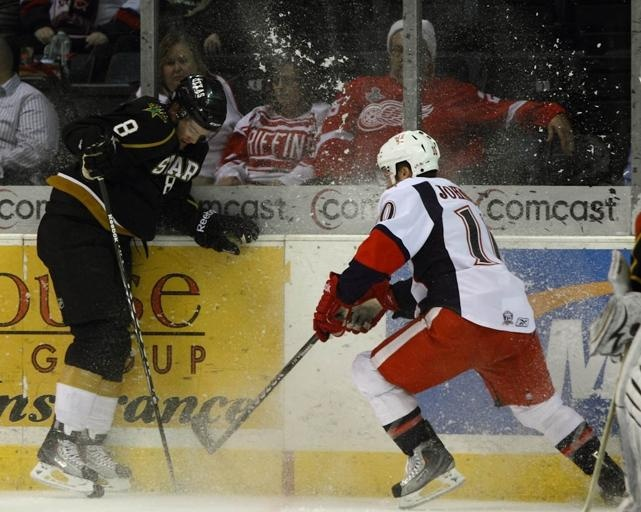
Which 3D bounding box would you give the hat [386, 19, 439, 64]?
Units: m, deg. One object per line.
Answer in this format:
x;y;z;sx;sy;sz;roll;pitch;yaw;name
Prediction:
0.556;-1.226;5.576;0.212;0.238;0.133;1;6;6;hat

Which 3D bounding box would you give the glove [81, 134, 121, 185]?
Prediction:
-1.182;-0.521;5.212;0.187;0.254;0.237;3;6;-13;glove

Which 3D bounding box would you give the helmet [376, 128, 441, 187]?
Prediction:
0.484;-0.521;5.170;0.318;0.267;0.236;4;12;27;helmet

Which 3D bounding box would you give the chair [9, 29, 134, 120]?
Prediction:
-1.391;-1.063;5.623;0.674;0.272;0.457;-6;29;-7;chair

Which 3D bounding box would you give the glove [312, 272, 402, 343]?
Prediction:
0.127;0.254;5.007;0.170;0.374;0.391;50;20;26;glove

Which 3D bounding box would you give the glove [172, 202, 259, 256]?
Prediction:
-0.573;-0.129;5.500;0.469;0.235;0.162;20;-10;5;glove

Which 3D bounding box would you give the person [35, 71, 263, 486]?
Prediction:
-1.067;0.149;5.406;0.974;2.312;0.355;2;7;-19;person
